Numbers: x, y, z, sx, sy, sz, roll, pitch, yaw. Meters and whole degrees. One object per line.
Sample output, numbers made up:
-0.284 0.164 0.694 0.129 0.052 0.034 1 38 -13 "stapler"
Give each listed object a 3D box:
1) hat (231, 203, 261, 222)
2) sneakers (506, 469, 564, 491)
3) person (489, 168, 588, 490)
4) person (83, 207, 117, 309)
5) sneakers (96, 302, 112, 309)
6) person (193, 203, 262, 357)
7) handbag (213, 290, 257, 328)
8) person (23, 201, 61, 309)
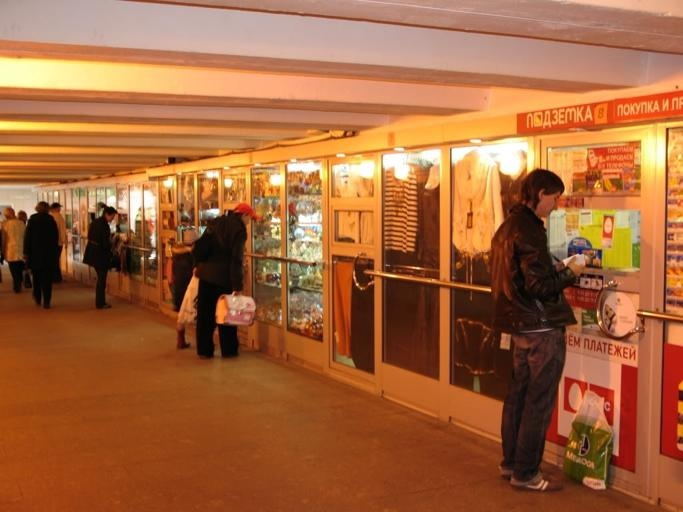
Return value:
-1.424 -0.658 8.268 0.337 0.184 0.258 28 -1 2 "hat"
1.560 1.807 4.537 0.426 0.194 0.161 -2 -1 -5 "sneakers"
1.515 0.602 4.382 0.649 2.559 0.426 1 3 16 "person"
-5.688 0.019 13.129 0.635 2.350 0.640 2 4 44 "person"
-5.595 1.162 13.097 0.319 0.152 0.113 2 -8 -11 "sneakers"
-1.841 0.338 8.527 0.944 2.334 0.890 6 1 27 "person"
-1.489 0.736 7.765 0.546 0.444 0.526 4 5 -17 "handbag"
-7.170 -0.050 13.268 0.719 2.461 1.122 -2 3 -31 "person"
